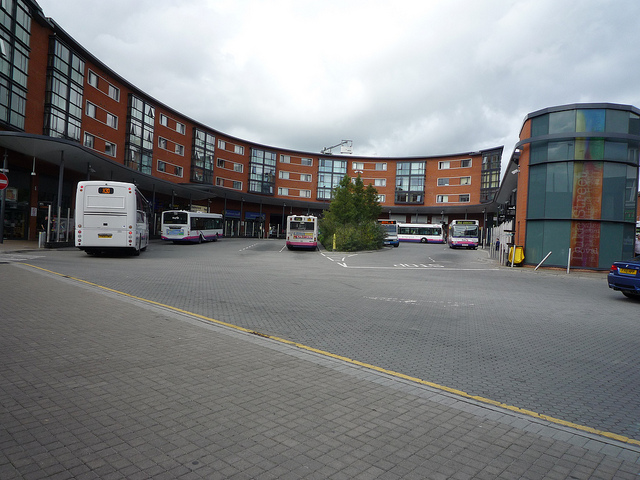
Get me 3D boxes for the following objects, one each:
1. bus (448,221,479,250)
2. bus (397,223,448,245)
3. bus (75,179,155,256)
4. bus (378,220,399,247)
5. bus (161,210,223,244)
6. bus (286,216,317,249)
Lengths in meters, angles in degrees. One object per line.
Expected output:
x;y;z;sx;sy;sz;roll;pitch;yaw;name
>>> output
15.220;-0.552;46.844;1.789;2.073;5.143;0;-5;7;bus
13.103;-0.641;62.484;9.186;3.018;3.121;0;4;20;bus
-9.960;-1.153;22.297;2.322;2.563;5.835;0;3;-11;bus
7.759;-0.757;49.681;1.802;2.666;2.631;3;6;7;bus
-11.267;-1.162;40.826;2.541;2.981;9.634;2;2;3;bus
-1.389;-0.295;36.081;2.375;2.862;4.754;2;-6;1;bus
